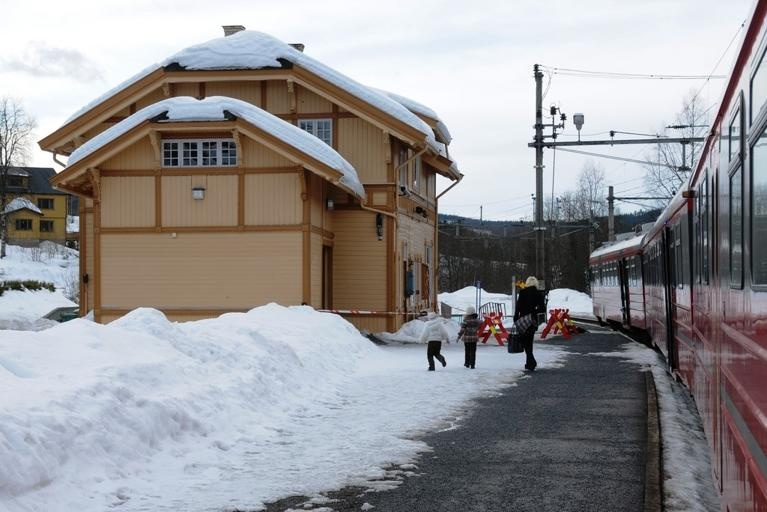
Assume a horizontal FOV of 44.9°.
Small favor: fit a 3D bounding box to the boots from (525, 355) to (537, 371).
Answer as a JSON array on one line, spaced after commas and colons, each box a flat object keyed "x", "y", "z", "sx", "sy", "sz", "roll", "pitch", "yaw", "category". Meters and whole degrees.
[{"x": 3.189, "y": 2.320, "z": 20.312, "sx": 0.232, "sy": 0.344, "sz": 0.618, "roll": 3, "pitch": 7, "yaw": 9, "category": "boots"}]

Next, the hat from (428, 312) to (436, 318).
[{"x": 1.015, "y": 1.273, "z": 20.042, "sx": 0.121, "sy": 0.110, "sz": 0.124, "roll": -7, "pitch": 6, "yaw": 33, "category": "hat"}]

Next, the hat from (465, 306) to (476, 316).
[{"x": 1.876, "y": 1.205, "z": 20.566, "sx": 0.225, "sy": 0.149, "sz": 0.218, "roll": -1, "pitch": 1, "yaw": 31, "category": "hat"}]

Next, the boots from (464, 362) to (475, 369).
[{"x": 1.880, "y": 2.434, "z": 20.615, "sx": 0.238, "sy": 0.167, "sz": 0.084, "roll": 4, "pitch": 3, "yaw": 23, "category": "boots"}]

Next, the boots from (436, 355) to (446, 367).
[{"x": 1.258, "y": 2.296, "z": 20.425, "sx": 0.181, "sy": 0.284, "sz": 0.094, "roll": -30, "pitch": -13, "yaw": 13, "category": "boots"}]
